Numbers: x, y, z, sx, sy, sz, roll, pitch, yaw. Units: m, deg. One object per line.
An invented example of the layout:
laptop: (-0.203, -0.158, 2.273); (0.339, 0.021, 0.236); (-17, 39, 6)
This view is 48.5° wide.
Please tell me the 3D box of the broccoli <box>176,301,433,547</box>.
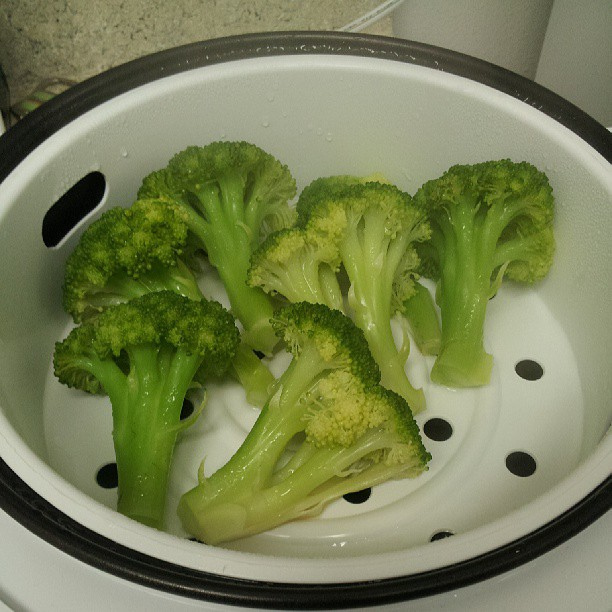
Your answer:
broccoli: (-0.009, 0.232, 1.166); (0.365, 0.180, 0.416); (-30, 70, -9)

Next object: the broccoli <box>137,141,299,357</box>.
broccoli: (-0.161, -0.184, 1.405); (0.263, 0.197, 0.494); (-1, 59, -23)

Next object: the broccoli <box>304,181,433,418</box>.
broccoli: (0.115, -0.009, 1.294); (0.218, 0.281, 0.515); (2, 56, -12)

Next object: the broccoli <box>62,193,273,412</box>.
broccoli: (-0.278, 0.103, 1.369); (0.293, 0.239, 0.509); (-33, 72, -25)

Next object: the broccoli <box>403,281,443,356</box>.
broccoli: (0.246, 0.042, 1.431); (0.051, 0.051, 0.213); (-4, 40, 0)

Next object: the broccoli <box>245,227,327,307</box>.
broccoli: (-0.039, -0.048, 1.326); (0.125, 0.122, 0.160); (-7, 82, 29)

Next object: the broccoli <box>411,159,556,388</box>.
broccoli: (0.365, -0.059, 1.386); (0.205, 0.243, 0.449); (8, 69, 10)
